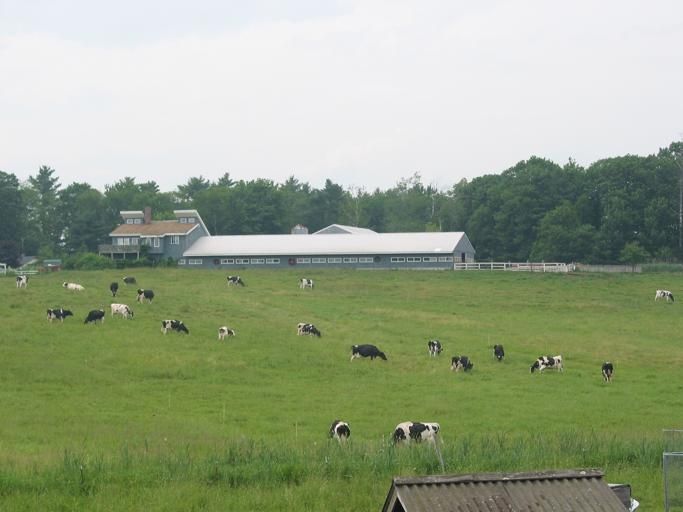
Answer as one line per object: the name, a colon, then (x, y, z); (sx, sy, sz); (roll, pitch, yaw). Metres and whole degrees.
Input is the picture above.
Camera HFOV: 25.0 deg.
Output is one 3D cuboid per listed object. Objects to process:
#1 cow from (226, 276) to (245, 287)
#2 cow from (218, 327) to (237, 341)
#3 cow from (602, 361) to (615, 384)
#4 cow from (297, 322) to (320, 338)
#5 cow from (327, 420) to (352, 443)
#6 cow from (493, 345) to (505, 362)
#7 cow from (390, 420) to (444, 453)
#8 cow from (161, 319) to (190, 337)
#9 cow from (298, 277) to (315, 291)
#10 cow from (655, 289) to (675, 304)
cow: (-10.718, 2.454, 157.044); (1.738, 1.016, 3.778); (-2, -1, -14)
cow: (-9.707, 6.468, 130.468); (0.695, 0.917, 1.765); (3, 2, 41)
cow: (21.270, 9.198, 122.282); (0.844, 1.508, 1.406); (-3, 0, 10)
cow: (-2.670, 6.326, 132.117); (2.061, 1.281, 2.398); (-3, -1, -2)
cow: (-0.103, 12.686, 111.679); (1.417, 1.537, 1.267); (-3, 0, 10)
cow: (13.107, 7.896, 126.519); (0.886, 1.414, 1.818); (-3, 0, 6)
cow: (5.473, 12.796, 111.560); (3.451, 1.793, 2.615); (-3, -1, 1)
cow: (-14.060, 5.943, 130.809); (2.262, 1.266, 1.550); (-3, 0, -7)
cow: (-3.444, 2.716, 155.547); (1.431, 1.104, 2.946); (-3, -1, -2)
cow: (31.455, 3.795, 148.669); (1.463, 1.231, 2.146); (-2, -1, -39)
